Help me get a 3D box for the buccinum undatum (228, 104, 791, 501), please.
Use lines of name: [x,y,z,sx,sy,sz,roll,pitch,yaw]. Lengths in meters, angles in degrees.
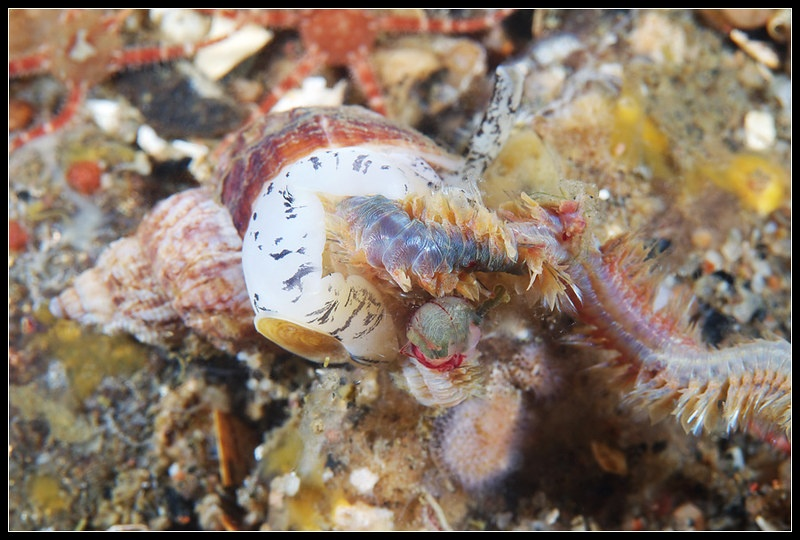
buccinum undatum: [0.310,0.112,2.218,1.396,0.737,0.516,11,-56,11]
